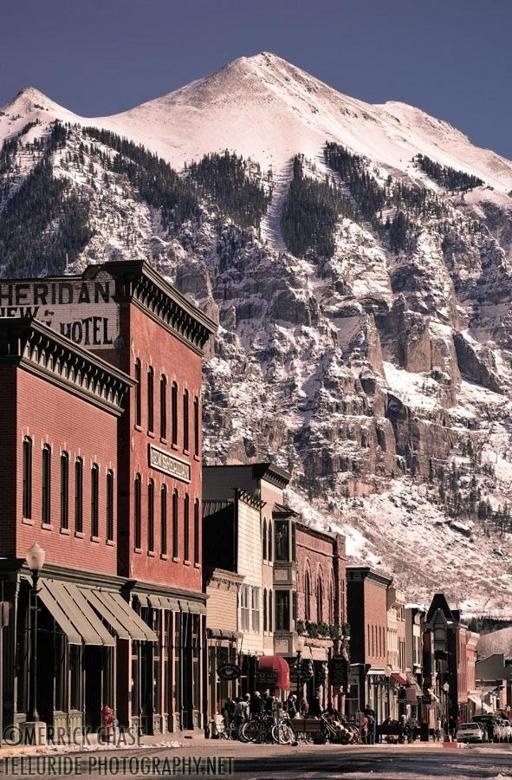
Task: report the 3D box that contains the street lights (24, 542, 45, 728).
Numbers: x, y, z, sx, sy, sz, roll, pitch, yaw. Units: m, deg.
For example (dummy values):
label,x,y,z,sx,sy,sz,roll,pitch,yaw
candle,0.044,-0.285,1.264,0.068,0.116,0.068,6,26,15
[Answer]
label,x,y,z,sx,sy,sz,roll,pitch,yaw
street lights,-4.997,5.635,43.892,0.562,4.200,0.608,-2,-5,23

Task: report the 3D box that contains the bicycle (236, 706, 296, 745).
label,x,y,z,sx,sy,sz,roll,pitch,yaw
bicycle,0.208,10.423,60.256,1.395,1.331,0.860,-1,-5,-12
